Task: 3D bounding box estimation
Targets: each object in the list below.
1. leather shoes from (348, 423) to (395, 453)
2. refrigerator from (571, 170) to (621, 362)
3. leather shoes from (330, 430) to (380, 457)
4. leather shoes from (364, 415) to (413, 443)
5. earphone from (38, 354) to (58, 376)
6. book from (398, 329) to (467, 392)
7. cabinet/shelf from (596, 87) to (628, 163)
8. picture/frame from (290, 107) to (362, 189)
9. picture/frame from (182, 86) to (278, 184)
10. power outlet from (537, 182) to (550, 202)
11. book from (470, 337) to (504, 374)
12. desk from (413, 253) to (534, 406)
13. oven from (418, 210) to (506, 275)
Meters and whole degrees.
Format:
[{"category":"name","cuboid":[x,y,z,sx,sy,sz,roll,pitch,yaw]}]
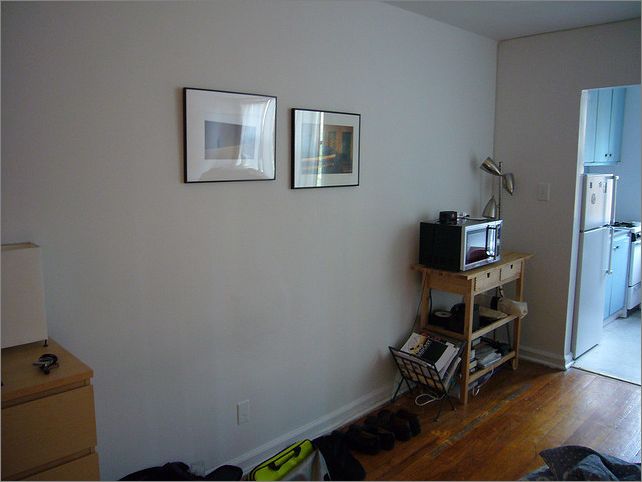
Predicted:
[{"category":"leather shoes","cuboid":[0.314,1.263,3.428,0.154,0.075,0.214,-5,9,-35]},{"category":"refrigerator","cuboid":[2.458,0.210,4.675,0.250,1.633,0.795,11,17,37]},{"category":"leather shoes","cuboid":[0.225,1.284,3.448,0.318,0.134,0.119,9,17,44]},{"category":"leather shoes","cuboid":[0.448,1.229,3.587,0.356,0.146,0.130,7,7,44]},{"category":"earphone","cuboid":[-1.158,0.522,2.202,0.058,0.033,0.074,7,7,35]},{"category":"book","cuboid":[0.800,0.889,3.839,0.377,0.316,0.332,13,19,40]},{"category":"cabinet/shelf","cuboid":[2.983,-1.214,5.330,0.297,0.844,0.884,-1,2,37]},{"category":"picture/frame","cuboid":[0.010,-0.606,3.343,0.522,0.463,0.022,-6,9,-41]},{"category":"picture/frame","cuboid":[-0.539,-0.602,2.913,0.556,0.490,0.045,-3,6,-36]},{"category":"power outlet","cuboid":[1.923,-0.430,4.473,0.020,0.204,0.136,-9,13,-37]},{"category":"book","cuboid":[1.311,0.901,4.135,0.228,0.057,0.227,-11,17,-37]},{"category":"desk","cuboid":[1.159,0.688,4.039,0.979,0.931,0.376,-8,12,-44]},{"category":"oven","cuboid":[1.126,0.020,4.044,0.418,0.373,0.647,9,13,43]}]
